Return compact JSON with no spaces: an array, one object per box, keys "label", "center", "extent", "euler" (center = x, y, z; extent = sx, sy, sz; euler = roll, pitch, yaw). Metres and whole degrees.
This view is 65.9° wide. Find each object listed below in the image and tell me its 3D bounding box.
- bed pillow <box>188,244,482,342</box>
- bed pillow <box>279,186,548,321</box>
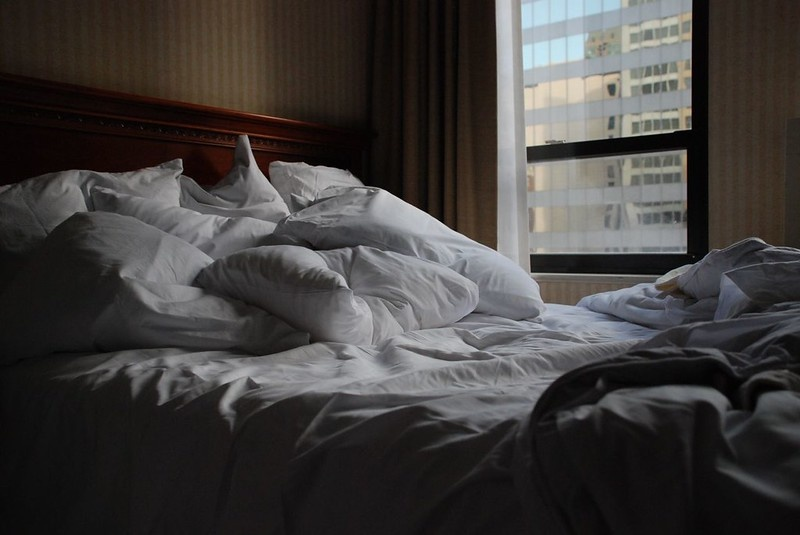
[{"label":"bed pillow","center":[-0.196,0.080,2.095],"extent":[0.409,0.185,0.578],"euler":[5,-3,33]},{"label":"bed pillow","center":[-0.022,-0.202,2.768],"extent":[0.693,0.255,0.832],"euler":[23,17,32]}]
